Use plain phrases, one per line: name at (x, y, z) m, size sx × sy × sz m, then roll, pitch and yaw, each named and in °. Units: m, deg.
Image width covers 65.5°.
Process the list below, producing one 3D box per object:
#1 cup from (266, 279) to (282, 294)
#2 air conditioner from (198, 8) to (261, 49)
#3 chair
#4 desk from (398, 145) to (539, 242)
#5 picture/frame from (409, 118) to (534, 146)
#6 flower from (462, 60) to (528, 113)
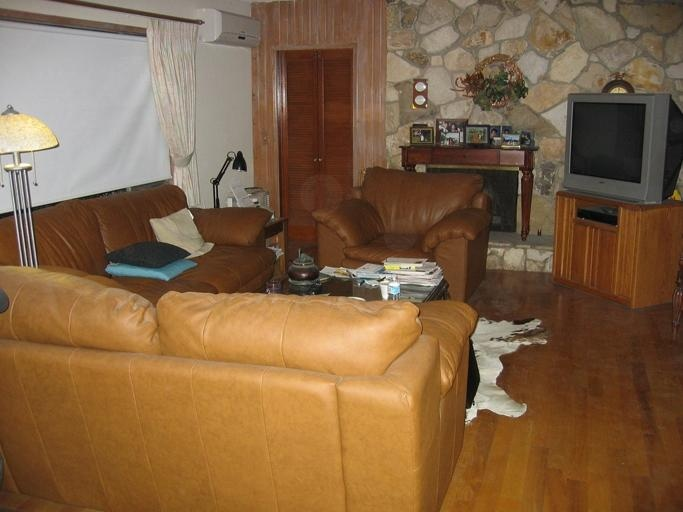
cup at (-0.459, 0.204, 3.515) m, size 0.097 × 0.105 × 0.103 m, roll 2°, pitch -7°, yaw 0°
air conditioner at (-1.243, -2.484, 5.827) m, size 0.224 × 0.346 × 0.905 m, roll 5°, pitch 13°, yaw 23°
chair at (0.656, -0.303, 4.859) m, size 1.708 × 1.156 × 1.185 m, roll 5°, pitch 14°, yaw 20°
desk at (1.284, -0.639, 5.302) m, size 1.135 × 0.730 × 0.390 m, roll 2°, pitch 15°, yaw 13°
picture/frame at (1.448, -1.389, 5.966) m, size 1.344 × 0.315 × 0.427 m, roll 5°, pitch 13°, yaw 23°
flower at (1.657, -1.936, 5.898) m, size 0.745 × 0.585 × 0.253 m, roll 1°, pitch 13°, yaw 9°
